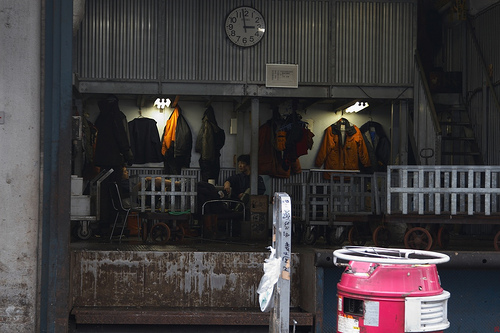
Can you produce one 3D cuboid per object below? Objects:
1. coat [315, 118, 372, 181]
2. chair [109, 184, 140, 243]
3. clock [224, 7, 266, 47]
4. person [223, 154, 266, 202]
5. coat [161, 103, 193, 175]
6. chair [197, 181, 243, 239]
[{"bbox_3d":[2.512,-0.564,28.866,1.445,1.403,0.587,-4,-6,36],"label":"coat"},{"bbox_3d":[-2.974,1.104,25.467,0.714,1.358,1.859,1,-5,-7],"label":"chair"},{"bbox_3d":[-0.151,-3.435,26.720,0.862,0.954,0.104,-1,6,-3],"label":"clock"},{"bbox_3d":[-0.156,0.432,28.049,1.108,1.549,0.798,3,-17,-6],"label":"person"},{"bbox_3d":[-1.987,-0.714,28.702,0.744,1.833,0.569,2,2,-13],"label":"coat"},{"bbox_3d":[-0.801,1.080,26.671,1.212,1.698,1.166,0,-1,-7],"label":"chair"}]
